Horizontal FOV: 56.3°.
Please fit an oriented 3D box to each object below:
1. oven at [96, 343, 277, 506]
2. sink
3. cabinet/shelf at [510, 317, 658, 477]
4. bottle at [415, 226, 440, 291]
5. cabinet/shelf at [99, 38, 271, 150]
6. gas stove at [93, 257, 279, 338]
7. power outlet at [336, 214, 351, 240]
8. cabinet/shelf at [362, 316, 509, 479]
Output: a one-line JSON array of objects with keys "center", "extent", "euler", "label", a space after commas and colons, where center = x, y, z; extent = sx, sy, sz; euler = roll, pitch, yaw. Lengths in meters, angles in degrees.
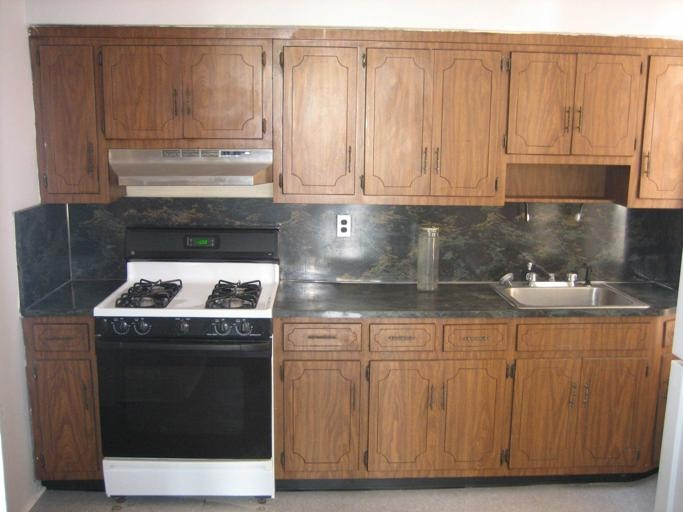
[{"center": [-1.094, 1.018, 3.821], "extent": [1.141, 0.912, 0.750], "euler": [14, -32, -41], "label": "oven"}, {"center": [1.395, 0.265, 3.979], "extent": [0.830, 0.146, 0.576], "euler": [0, 5, -4], "label": "sink"}, {"center": [1.414, 0.799, 3.786], "extent": [1.161, 0.896, 0.567], "euler": [0, 5, 0], "label": "cabinet/shelf"}, {"center": [0.542, 0.022, 4.039], "extent": [0.131, 0.406, 0.092], "euler": [2, 7, 13], "label": "bottle"}, {"center": [-0.787, -1.033, 3.995], "extent": [1.190, 0.615, 0.618], "euler": [7, 12, 20], "label": "cabinet/shelf"}, {"center": [-0.880, 0.247, 3.812], "extent": [0.987, 0.388, 0.579], "euler": [0, 6, -1], "label": "gas stove"}, {"center": [0.015, -0.196, 4.167], "extent": [0.093, 0.154, 0.025], "euler": [-1, 7, -13], "label": "power outlet"}, {"center": [0.532, 0.791, 3.740], "extent": [1.185, 0.952, 0.545], "euler": [0, 4, -1], "label": "cabinet/shelf"}]
